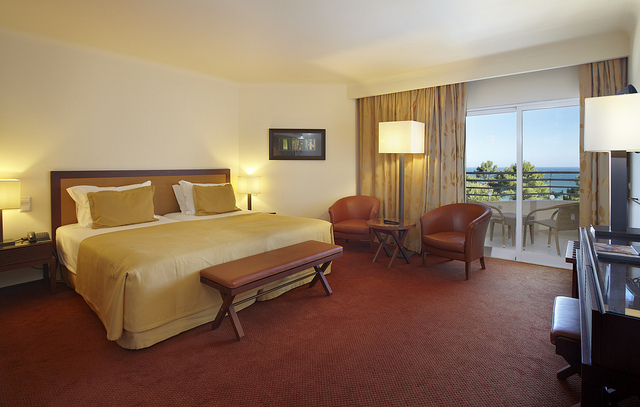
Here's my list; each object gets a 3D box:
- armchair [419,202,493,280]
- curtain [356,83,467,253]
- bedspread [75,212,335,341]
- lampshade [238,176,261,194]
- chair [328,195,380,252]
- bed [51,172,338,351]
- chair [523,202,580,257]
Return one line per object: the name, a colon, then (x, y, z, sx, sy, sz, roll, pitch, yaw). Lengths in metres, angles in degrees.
armchair: (2.114, 0.533, 6.435, 1.130, 1.158, 1.124, 0, 1, -42)
curtain: (1.664, -0.631, 6.908, 2.232, 3.090, 0.401, 2, 4, 39)
bedspread: (-1.654, 0.746, 6.562, 3.698, 1.114, 3.933, -3, 5, -41)
lampshade: (-1.364, -0.350, 7.674, 0.346, 0.362, 0.343, 0, -1, -43)
chair: (0.622, 0.318, 7.249, 0.973, 0.922, 0.921, 0, 6, 3)
bed: (-1.827, 0.374, 5.834, 3.136, 1.648, 3.071, -13, 19, -42)
chair: (3.736, 0.342, 6.368, 0.710, 0.840, 0.720, -1, 7, -3)
